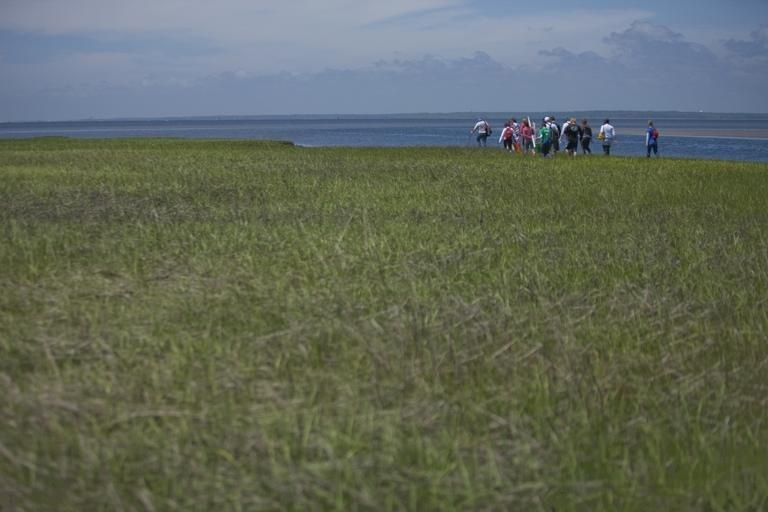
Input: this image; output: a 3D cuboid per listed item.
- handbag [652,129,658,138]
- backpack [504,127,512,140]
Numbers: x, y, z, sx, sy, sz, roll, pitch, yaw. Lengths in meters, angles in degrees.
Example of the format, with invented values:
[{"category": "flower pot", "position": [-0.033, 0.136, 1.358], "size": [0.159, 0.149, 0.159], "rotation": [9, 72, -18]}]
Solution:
[{"category": "handbag", "position": [3.321, -1.527, 10.023], "size": [0.066, 0.115, 0.097], "rotation": [0, -3, -7]}, {"category": "backpack", "position": [1.858, -1.873, 12.255], "size": [0.115, 0.129, 0.221], "rotation": [9, -23, 5]}]
